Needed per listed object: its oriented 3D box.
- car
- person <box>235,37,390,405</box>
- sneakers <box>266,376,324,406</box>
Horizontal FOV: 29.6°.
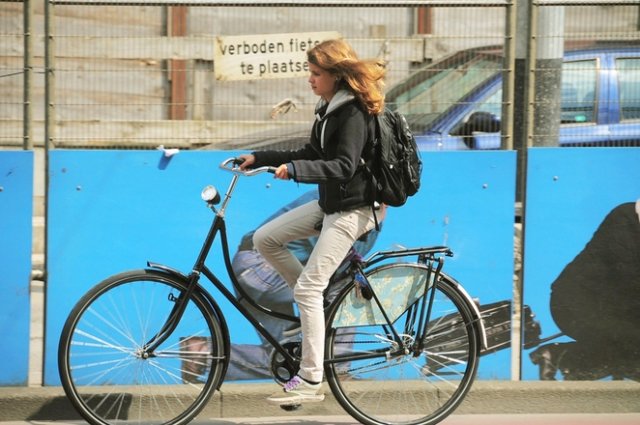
[{"bbox_3d":[1.135,-0.875,10.971,3.187,0.907,1.381,1,5,-6],"label":"car"},{"bbox_3d":[0.005,0.065,9.848,1.050,2.915,0.556,0,6,3],"label":"person"},{"bbox_3d":[-0.165,1.450,9.857,0.538,0.207,0.179,2,-10,-3],"label":"sneakers"}]
